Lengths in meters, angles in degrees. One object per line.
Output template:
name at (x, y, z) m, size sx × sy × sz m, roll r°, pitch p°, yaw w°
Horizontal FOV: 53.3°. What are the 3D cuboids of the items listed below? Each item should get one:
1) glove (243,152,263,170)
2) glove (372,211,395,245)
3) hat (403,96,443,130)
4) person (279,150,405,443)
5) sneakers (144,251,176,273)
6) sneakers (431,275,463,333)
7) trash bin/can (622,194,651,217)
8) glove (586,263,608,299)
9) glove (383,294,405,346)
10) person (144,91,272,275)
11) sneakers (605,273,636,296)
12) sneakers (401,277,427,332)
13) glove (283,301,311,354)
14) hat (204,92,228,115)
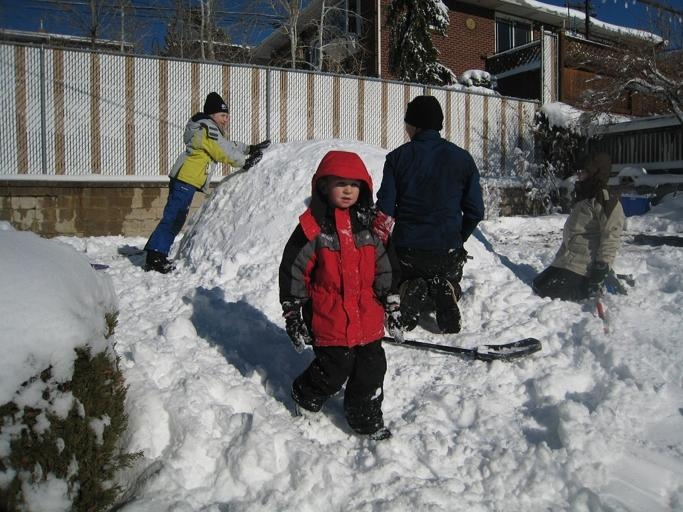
glove at (-1.124, -1.218, 8.683) m, size 0.234 × 0.110 × 0.175 m, roll -32°, pitch -17°, yaw 19°
glove at (0.398, -0.281, 6.079) m, size 0.164 × 0.084 × 0.304 m, roll 22°, pitch 36°, yaw -14°
hat at (0.802, -1.372, 6.538) m, size 0.301 × 0.289 × 0.338 m, roll 7°, pitch 2°, yaw -7°
person at (-0.009, 0.382, 5.379) m, size 0.934 × 2.001 × 0.415 m, roll 4°, pitch 10°, yaw 5°
sneakers at (-2.128, 0.083, 7.931) m, size 0.233 × 0.292 × 0.280 m, roll 3°, pitch -12°, yaw -14°
sneakers at (1.059, 0.482, 6.709) m, size 0.219 × 0.650 × 0.250 m, roll -8°, pitch 10°, yaw 15°
trash bin/can at (4.917, -0.856, 11.387) m, size 0.502 × 0.425 × 0.512 m, roll -4°, pitch 9°, yaw -32°
glove at (2.633, 0.239, 7.020) m, size 0.183 × 0.367 × 0.109 m, roll 11°, pitch 8°, yaw 33°
glove at (0.407, 0.506, 5.439) m, size 0.113 × 0.414 × 0.157 m, roll -7°, pitch -7°, yaw -17°
person at (-1.707, -0.929, 8.277) m, size 1.496 × 2.092 × 0.516 m, roll -5°, pitch 13°, yaw -39°
sneakers at (2.999, 0.282, 7.298) m, size 0.222 × 0.319 × 0.110 m, roll 36°, pitch -26°, yaw -3°
sneakers at (0.687, 0.419, 6.578) m, size 0.212 × 0.616 × 0.255 m, roll 9°, pitch 5°, yaw -17°
glove at (-0.357, 0.530, 5.346) m, size 0.223 × 0.397 × 0.153 m, roll 10°, pitch -30°, yaw -16°
hat at (-1.552, -1.909, 8.434) m, size 0.284 × 0.284 × 0.229 m, roll -3°, pitch 10°, yaw -7°
